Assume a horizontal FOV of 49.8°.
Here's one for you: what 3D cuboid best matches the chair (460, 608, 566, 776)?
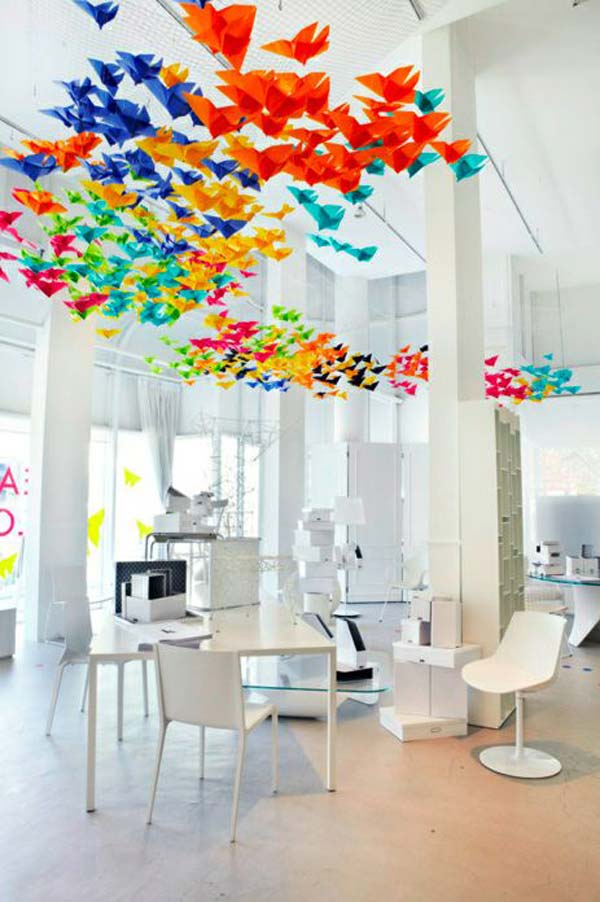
[{"bbox_3d":[1.070,1.207,3.309,0.541,0.725,0.590,1,-6,-7],"label":"chair"}]

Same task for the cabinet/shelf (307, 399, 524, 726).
[{"bbox_3d":[0.836,0.535,5.599,2.048,3.197,2.115,0,0,20],"label":"cabinet/shelf"}]

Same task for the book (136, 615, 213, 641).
[{"bbox_3d":[-0.616,0.884,3.169,0.201,0.050,0.210,0,0,-5],"label":"book"}]
